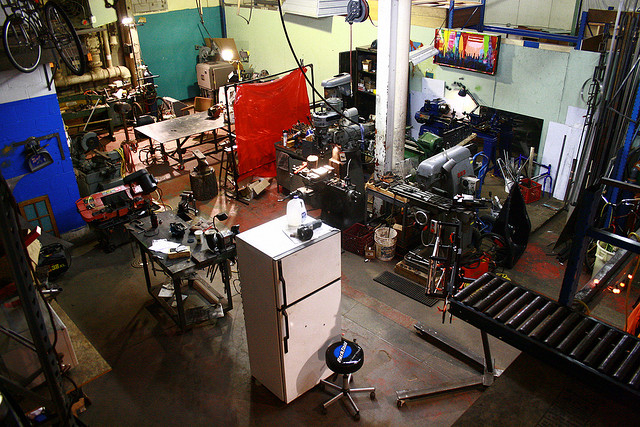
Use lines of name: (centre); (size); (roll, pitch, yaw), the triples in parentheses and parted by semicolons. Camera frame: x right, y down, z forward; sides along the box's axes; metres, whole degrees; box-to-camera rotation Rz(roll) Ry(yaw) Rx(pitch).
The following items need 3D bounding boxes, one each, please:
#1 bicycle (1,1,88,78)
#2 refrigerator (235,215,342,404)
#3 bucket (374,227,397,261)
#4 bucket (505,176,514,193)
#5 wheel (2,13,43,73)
bicycle: (-4.886, -3.124, 8.160); (1.046, 1.131, 3.430); (-16, 29, -24)
refrigerator: (-0.355, 1.234, 6.049); (0.952, 2.058, 1.182); (16, 27, 37)
bucket: (1.048, 0.536, 8.132); (0.484, 0.520, 0.497); (-2, 36, 2)
bucket: (3.528, -0.548, 8.673); (0.211, 0.228, 0.389); (-1, -16, 13)
wheel: (-4.505, -2.590, 7.106); (0.471, 0.860, 0.995); (-17, 29, -25)
